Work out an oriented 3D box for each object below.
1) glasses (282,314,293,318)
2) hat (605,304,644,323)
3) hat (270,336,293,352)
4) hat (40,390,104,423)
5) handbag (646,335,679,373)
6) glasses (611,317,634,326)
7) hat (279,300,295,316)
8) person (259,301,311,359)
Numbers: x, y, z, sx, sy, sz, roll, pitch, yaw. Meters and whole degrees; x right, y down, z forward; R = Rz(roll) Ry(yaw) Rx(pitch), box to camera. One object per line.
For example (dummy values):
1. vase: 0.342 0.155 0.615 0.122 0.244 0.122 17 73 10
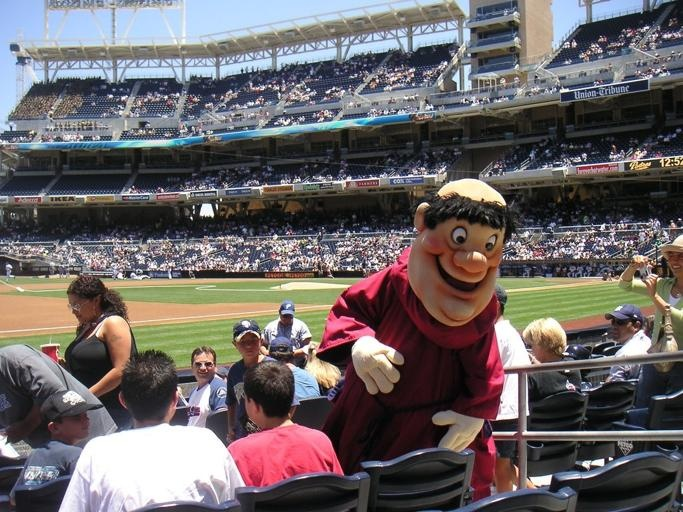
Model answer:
1. glasses: -0.780 0.856 12.261 0.148 0.053 0.117 0 -2 -12
2. hat: 3.359 0.684 10.171 0.351 0.163 0.224 2 -7 0
3. hat: -0.708 1.027 9.990 0.237 0.158 0.330 4 -7 -2
4. hat: -2.548 1.390 8.001 0.407 0.160 0.259 -7 0 3
5. handbag: 3.183 0.982 8.521 0.201 0.352 0.340 17 6 6
6. glasses: 3.321 0.765 10.196 0.241 0.104 0.144 10 -4 -18
7. hat: -0.784 0.754 12.334 0.178 0.144 0.260 10 -3 -7
8. person: -0.832 1.203 12.379 0.728 1.066 0.607 0 3 -7
